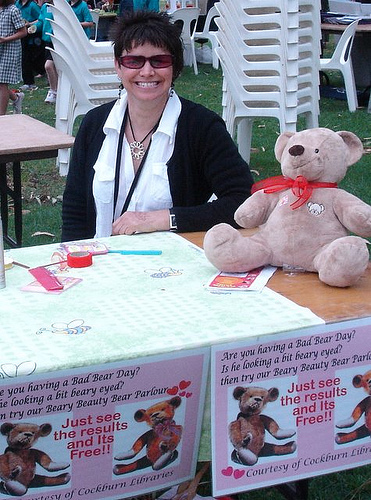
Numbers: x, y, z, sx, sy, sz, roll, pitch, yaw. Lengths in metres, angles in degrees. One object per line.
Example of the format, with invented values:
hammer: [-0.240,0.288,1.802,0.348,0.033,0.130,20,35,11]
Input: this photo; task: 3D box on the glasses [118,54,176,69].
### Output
glasses: [-0.157,-0.725,1.978,0.208,0.059,0.082,-1,8,-5]
